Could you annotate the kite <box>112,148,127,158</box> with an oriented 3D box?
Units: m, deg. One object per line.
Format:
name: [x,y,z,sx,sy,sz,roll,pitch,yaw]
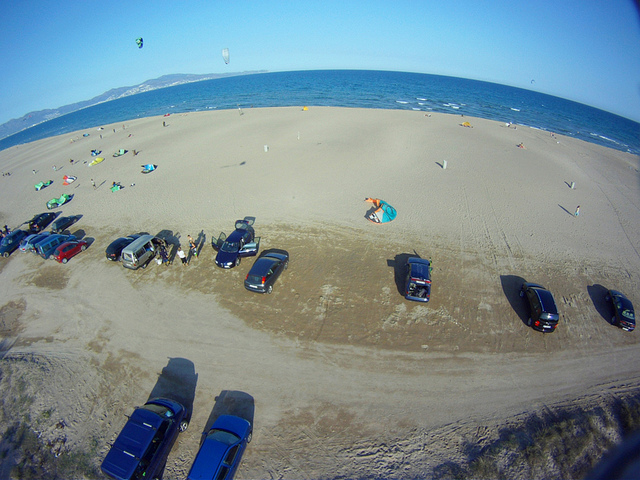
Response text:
kite: [-27.822,-12.297,56.504,1.216,1.897,0.590,4,-44,22]

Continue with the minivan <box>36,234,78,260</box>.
minivan: [-23.808,0.127,36.280,1.665,2.980,1.649,26,-40,21]

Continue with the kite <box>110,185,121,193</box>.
kite: [-23.142,-5.883,45.826,0.664,0.680,0.187,34,-36,26]

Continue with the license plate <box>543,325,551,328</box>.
license plate: [16.550,6.319,29.735,0.520,0.190,0.129,9,-5,1]

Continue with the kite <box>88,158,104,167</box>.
kite: [-30.344,-10.529,54.815,1.668,1.360,1.209,12,-6,-33]

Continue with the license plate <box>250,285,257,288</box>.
license plate: [-5.276,3.632,31.823,0.686,0.176,0.116,8,19,29]

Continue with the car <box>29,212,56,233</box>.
car: [-28.298,-1.767,40.905,1.227,2.563,1.236,8,-41,8]

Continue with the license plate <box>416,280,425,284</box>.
license plate: [7.688,3.171,31.145,0.625,0.116,0.176,8,-58,11]

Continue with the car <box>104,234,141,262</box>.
car: [-17.592,0.572,36.100,1.384,3.217,1.205,11,-46,20]

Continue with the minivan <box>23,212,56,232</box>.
minivan: [-28.303,-1.796,40.695,1.358,2.652,1.272,6,-47,5]

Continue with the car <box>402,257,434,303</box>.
car: [7.829,2.687,32.470,2.298,4.326,2.298,11,-46,11]

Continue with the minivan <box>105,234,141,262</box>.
minivan: [-17.601,0.652,36.088,1.358,3.128,1.166,11,-44,19]

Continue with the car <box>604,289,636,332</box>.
car: [22.843,5.581,31.123,1.481,3.304,1.108,16,-37,16]

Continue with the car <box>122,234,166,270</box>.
car: [-15.569,0.866,35.507,2.745,4.150,2.027,9,-58,14]

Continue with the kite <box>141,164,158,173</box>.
kite: [-21.145,-8.926,50.386,1.543,0.970,1.505,10,-5,-15]

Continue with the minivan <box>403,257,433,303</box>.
minivan: [7.883,2.707,32.553,2.435,4.437,2.049,10,-51,13]

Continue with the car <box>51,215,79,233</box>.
car: [-25.187,-1.579,39.966,0.729,1.845,2.469,7,-5,13]

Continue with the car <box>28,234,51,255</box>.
car: [-25.385,0.250,36.532,1.140,1.983,1.041,22,-42,13]

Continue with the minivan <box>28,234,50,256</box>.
minivan: [-25.482,0.449,36.566,1.179,2.029,1.063,22,-43,13]

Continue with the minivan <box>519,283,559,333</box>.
minivan: [16.917,4.782,31.246,2.196,4.416,2.057,2,-47,3]

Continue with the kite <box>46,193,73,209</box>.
kite: [-28.503,-4.125,44.591,1.521,2.552,0.946,38,-35,30]

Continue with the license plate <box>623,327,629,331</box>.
license plate: [22.744,6.633,30.292,0.283,0.069,0.302,20,-42,33]

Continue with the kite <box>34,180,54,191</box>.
kite: [-33.869,-6.688,49.702,1.240,1.773,0.635,17,-49,11]

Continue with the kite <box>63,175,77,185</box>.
kite: [-30.715,-7.323,49.684,1.202,1.226,0.965,12,-6,-34]

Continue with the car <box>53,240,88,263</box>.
car: [-22.190,0.763,35.935,1.235,2.451,1.099,36,-40,16]
